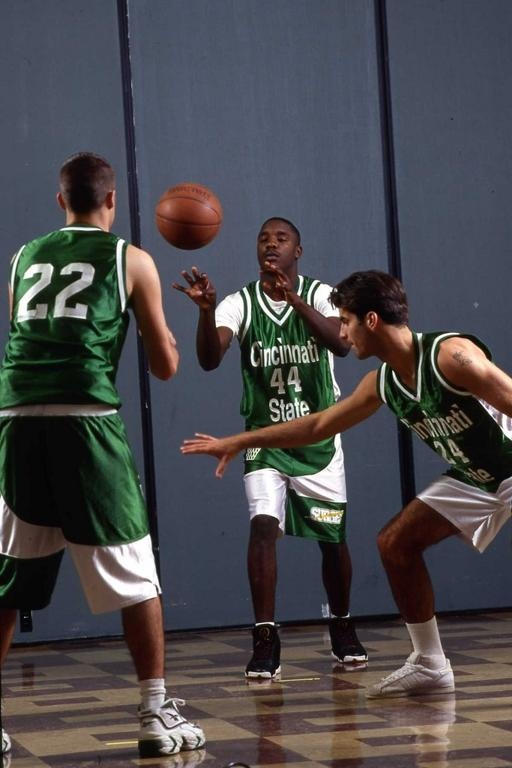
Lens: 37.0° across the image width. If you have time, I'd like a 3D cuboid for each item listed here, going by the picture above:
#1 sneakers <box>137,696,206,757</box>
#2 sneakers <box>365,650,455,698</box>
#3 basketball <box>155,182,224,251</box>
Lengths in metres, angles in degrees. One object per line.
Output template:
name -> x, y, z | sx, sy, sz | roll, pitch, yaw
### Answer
sneakers -> -0.171, 0.696, 1.572 | 0.176, 0.105, 0.072 | 1, -14, -43
sneakers -> 0.436, 0.804, 2.146 | 0.299, 0.122, 0.094 | 0, -5, -11
basketball -> -0.212, -0.531, 2.531 | 0.236, 0.209, 0.212 | 1, -18, 3
